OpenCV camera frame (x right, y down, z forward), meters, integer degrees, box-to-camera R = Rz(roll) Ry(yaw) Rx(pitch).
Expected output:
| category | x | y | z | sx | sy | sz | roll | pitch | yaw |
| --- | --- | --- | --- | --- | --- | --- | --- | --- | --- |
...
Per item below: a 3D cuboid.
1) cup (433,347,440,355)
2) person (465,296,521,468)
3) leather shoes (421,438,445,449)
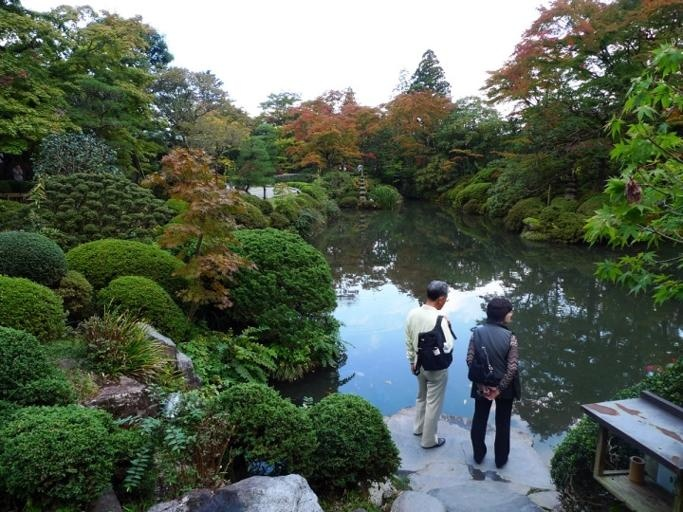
| category | x | y | z | sx | sy | sz | roll | pitch | yaw |
| --- | --- | --- | --- | --- | --- | --- | --- | --- | --- |
| cup | 1.030 | 1.033 | 5.491 | 0.066 | 0.067 | 0.076 | -9 | -15 | 42 |
| person | 1.631 | 1.354 | 5.422 | 0.531 | 1.824 | 0.463 | 0 | -1 | 18 |
| leather shoes | 1.038 | 2.151 | 5.773 | 0.291 | 0.118 | 0.094 | -6 | 13 | -16 |
